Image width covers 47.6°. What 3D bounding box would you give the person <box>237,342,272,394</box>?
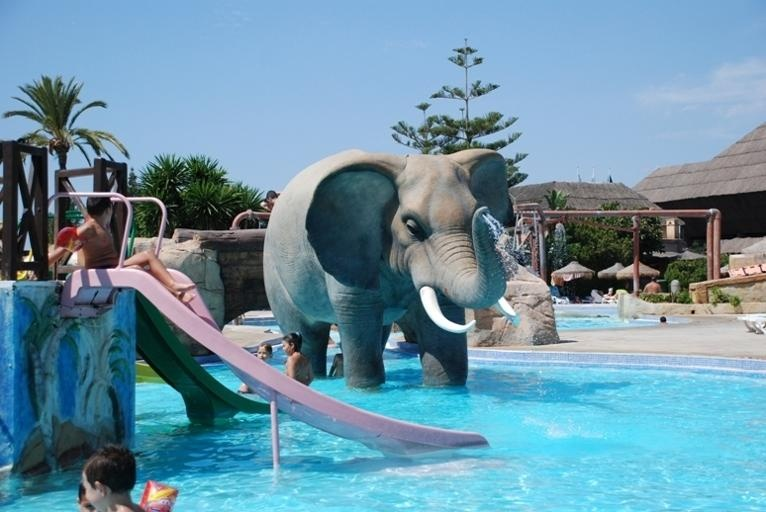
[{"bbox_3d":[-1.556,1.404,10.919,0.474,0.522,0.837,-2,-9,-18],"label":"person"}]

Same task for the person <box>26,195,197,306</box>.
[{"bbox_3d":[-2.645,-0.030,8.504,1.678,1.105,1.047,4,6,-3],"label":"person"}]

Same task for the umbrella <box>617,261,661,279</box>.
[{"bbox_3d":[11.969,0.781,41.177,1.564,0.701,1.667,0,-4,6],"label":"umbrella"}]

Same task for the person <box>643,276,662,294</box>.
[{"bbox_3d":[10.361,1.114,33.380,0.525,0.647,0.805,9,14,44],"label":"person"}]

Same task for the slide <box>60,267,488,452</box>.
[{"bbox_3d":[-0.529,1.227,9.250,5.189,2.305,1.430,5,-11,-16],"label":"slide"}]

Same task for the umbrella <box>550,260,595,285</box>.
[{"bbox_3d":[9.010,0.815,41.050,1.475,0.746,1.495,-5,5,-28],"label":"umbrella"}]
